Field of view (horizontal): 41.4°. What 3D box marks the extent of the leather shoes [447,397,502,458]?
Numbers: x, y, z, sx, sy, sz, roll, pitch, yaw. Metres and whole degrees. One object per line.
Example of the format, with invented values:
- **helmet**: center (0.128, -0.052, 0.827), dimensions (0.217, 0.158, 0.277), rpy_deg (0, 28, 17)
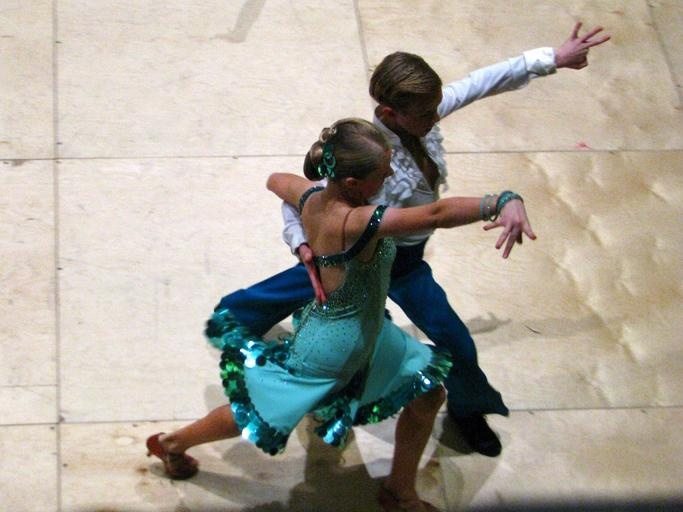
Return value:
- **leather shoes**: center (0.736, 0.954, 4.957), dimensions (0.217, 0.068, 0.272), rpy_deg (-19, 56, -27)
